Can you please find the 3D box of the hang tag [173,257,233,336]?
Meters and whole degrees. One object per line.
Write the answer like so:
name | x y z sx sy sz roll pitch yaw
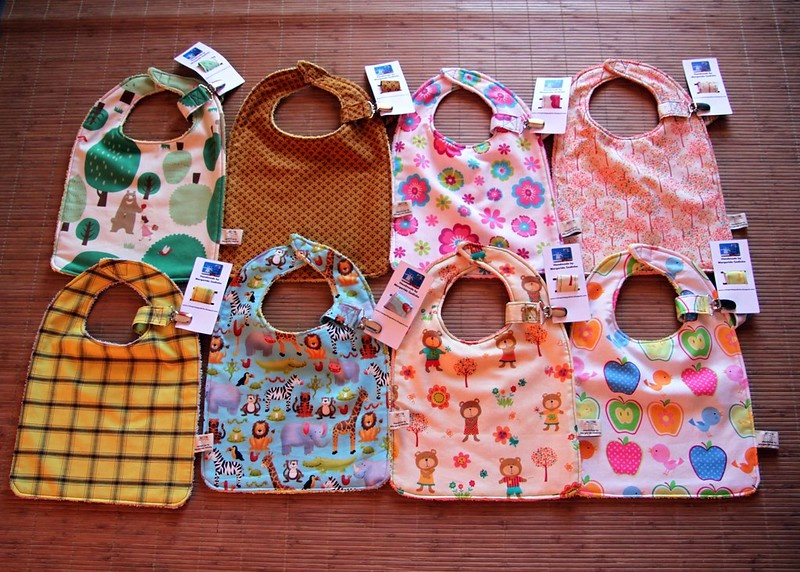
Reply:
hang tag | -0.696 0.037 2.750 0.178 0.067 0.256 14 76 4

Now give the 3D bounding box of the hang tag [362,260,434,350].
hang tag | -0.012 0.063 2.737 0.180 0.084 0.279 31 83 9

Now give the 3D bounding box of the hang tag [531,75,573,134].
hang tag | 0.570 -0.679 2.953 0.147 0.004 0.217 13 107 38

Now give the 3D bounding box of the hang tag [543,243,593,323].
hang tag | 0.580 -0.009 2.694 0.171 0.052 0.261 -2 84 -1

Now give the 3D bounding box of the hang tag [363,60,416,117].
hang tag | -0.043 -0.739 3.014 0.179 0.051 0.206 -9 72 -3

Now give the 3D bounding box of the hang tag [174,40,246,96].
hang tag | -0.754 -0.820 3.083 0.276 0.074 0.163 45 68 -3
